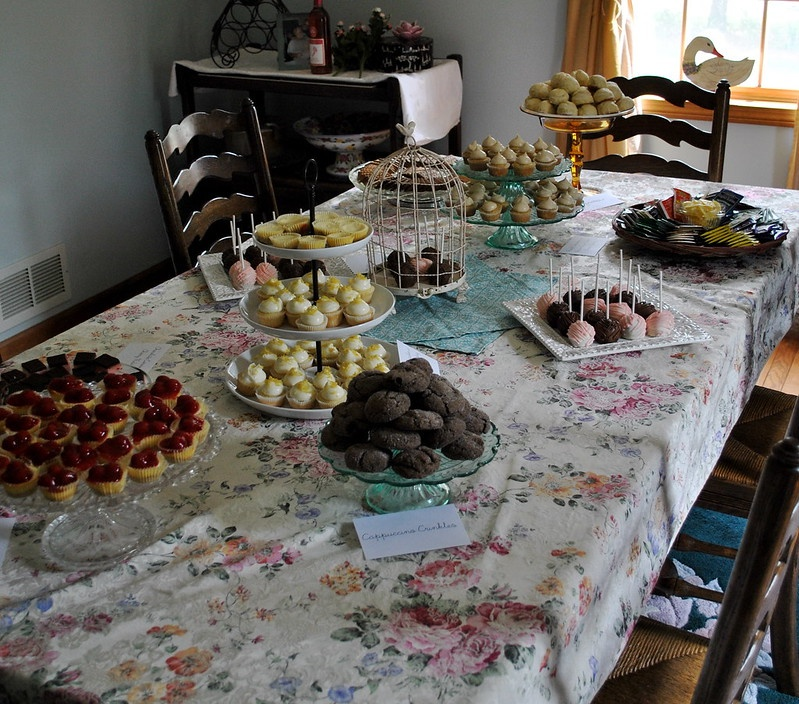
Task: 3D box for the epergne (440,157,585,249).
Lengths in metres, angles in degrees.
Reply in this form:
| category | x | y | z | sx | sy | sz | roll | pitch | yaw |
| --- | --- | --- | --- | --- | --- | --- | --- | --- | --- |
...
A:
| category | x | y | z | sx | sy | sz | roll | pitch | yaw |
| --- | --- | --- | --- | --- | --- | --- | --- | --- | --- |
| epergne | 0.343 | -0.431 | 1.810 | 0.391 | 0.175 | 0.324 | 2 | 31 | 7 |

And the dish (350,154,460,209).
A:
| category | x | y | z | sx | sy | sz | roll | pitch | yaw |
| --- | --- | --- | --- | --- | --- | --- | --- | --- | --- |
| dish | -0.027 | -0.520 | 1.905 | 0.424 | 0.089 | 0.349 | 12 | 24 | 9 |

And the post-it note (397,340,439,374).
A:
| category | x | y | z | sx | sy | sz | roll | pitch | yaw |
| --- | --- | --- | --- | --- | --- | --- | --- | --- | --- |
| post-it note | 0.035 | 0.010 | 1.094 | 0.096 | 0.002 | 0.051 | 25 | 23 | -28 |

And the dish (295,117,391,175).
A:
| category | x | y | z | sx | sy | sz | roll | pitch | yaw |
| --- | --- | --- | --- | --- | --- | --- | --- | --- | --- |
| dish | -0.288 | -1.027 | 3.135 | 0.454 | 0.164 | 0.377 | 0 | 24 | 0 |

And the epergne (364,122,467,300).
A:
| category | x | y | z | sx | sy | sz | roll | pitch | yaw |
| --- | --- | --- | --- | --- | --- | --- | --- | --- | --- |
| epergne | 0.036 | -0.367 | 1.611 | 0.297 | 0.402 | 0.296 | 19 | 34 | 39 |

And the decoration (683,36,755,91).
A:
| category | x | y | z | sx | sy | sz | roll | pitch | yaw |
| --- | --- | --- | --- | --- | --- | --- | --- | --- | --- |
| decoration | 1.251 | -1.134 | 2.492 | 0.298 | 0.196 | 0.136 | -2 | 39 | -3 |

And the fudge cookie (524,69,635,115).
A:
| category | x | y | z | sx | sy | sz | roll | pitch | yaw |
| --- | --- | --- | --- | --- | --- | --- | --- | --- | --- |
| fudge cookie | 0.587 | -0.852 | 2.066 | 0.352 | 0.133 | 0.207 | 2 | 27 | 8 |

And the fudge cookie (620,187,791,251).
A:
| category | x | y | z | sx | sy | sz | roll | pitch | yaw |
| --- | --- | --- | --- | --- | --- | --- | --- | --- | --- |
| fudge cookie | 0.804 | -0.329 | 1.675 | 0.312 | 0.075 | 0.300 | -20 | 27 | -38 |

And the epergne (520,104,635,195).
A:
| category | x | y | z | sx | sy | sz | roll | pitch | yaw |
| --- | --- | --- | --- | --- | --- | --- | --- | --- | --- |
| epergne | 0.554 | -0.777 | 2.264 | 0.520 | 0.327 | 0.417 | 1 | 30 | 5 |

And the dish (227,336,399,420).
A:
| category | x | y | z | sx | sy | sz | roll | pitch | yaw |
| --- | --- | --- | --- | --- | --- | --- | --- | --- | --- |
| dish | -0.167 | 0.046 | 1.168 | 0.229 | 0.058 | 0.207 | 0 | 19 | 1 |

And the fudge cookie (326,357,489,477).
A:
| category | x | y | z | sx | sy | sz | roll | pitch | yaw |
| --- | --- | --- | --- | --- | --- | --- | --- | --- | --- |
| fudge cookie | -0.004 | 0.096 | 0.826 | 0.189 | 0.077 | 0.189 | 17 | 28 | 29 |
